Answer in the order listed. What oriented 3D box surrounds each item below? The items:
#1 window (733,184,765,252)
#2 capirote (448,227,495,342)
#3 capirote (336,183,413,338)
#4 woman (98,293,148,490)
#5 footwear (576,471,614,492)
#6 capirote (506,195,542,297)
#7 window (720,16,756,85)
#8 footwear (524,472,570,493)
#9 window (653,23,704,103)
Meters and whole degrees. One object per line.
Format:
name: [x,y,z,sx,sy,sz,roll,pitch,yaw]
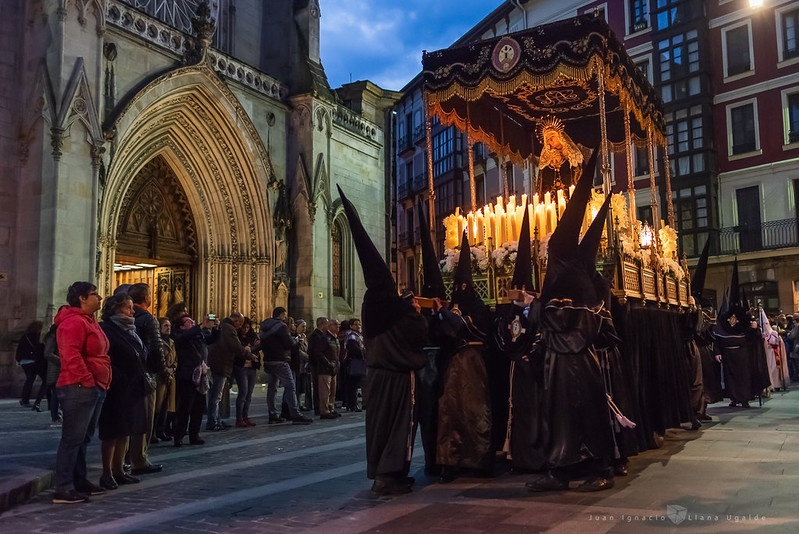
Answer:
window: [15.297,-1.993,33.612,0.218,2.807,1.010,-5,1,-36]
capirote: [1.111,0.461,13.549,0.967,1.894,1.374,-4,-8,31]
capirote: [-0.397,-0.075,12.341,1.120,2.362,0.694,0,-8,-5]
woman: [-4.556,2.011,12.993,0.896,3.192,1.108,-4,-7,-4]
footwear: [3.056,3.343,12.023,0.504,0.208,0.253,0,-13,-5]
capirote: [2.326,-0.307,13.768,0.450,1.653,0.438,-7,1,-29]
window: [15.223,-9.683,34.721,1.171,2.133,0.157,-8,14,18]
footwear: [2.296,3.353,12.083,0.710,0.315,0.261,3,-9,-2]
window: [13.366,-9.516,35.614,2.445,0.367,4.567,-9,-24,16]
